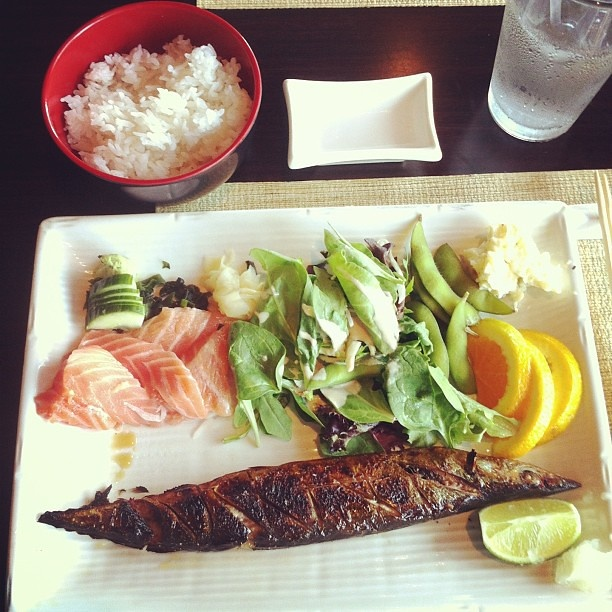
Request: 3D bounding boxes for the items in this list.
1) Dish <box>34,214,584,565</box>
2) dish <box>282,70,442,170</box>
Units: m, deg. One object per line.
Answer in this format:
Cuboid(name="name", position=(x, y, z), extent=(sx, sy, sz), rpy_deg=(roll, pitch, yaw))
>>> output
Cuboid(name="Dish", position=(0.030, 0.177, 1.575), extent=(1.312, 0.224, 0.822), rpy_deg=(1, 72, 1))
Cuboid(name="dish", position=(0.150, -0.512, 1.823), extent=(0.413, 0.073, 0.283), rpy_deg=(-3, 72, 0))
